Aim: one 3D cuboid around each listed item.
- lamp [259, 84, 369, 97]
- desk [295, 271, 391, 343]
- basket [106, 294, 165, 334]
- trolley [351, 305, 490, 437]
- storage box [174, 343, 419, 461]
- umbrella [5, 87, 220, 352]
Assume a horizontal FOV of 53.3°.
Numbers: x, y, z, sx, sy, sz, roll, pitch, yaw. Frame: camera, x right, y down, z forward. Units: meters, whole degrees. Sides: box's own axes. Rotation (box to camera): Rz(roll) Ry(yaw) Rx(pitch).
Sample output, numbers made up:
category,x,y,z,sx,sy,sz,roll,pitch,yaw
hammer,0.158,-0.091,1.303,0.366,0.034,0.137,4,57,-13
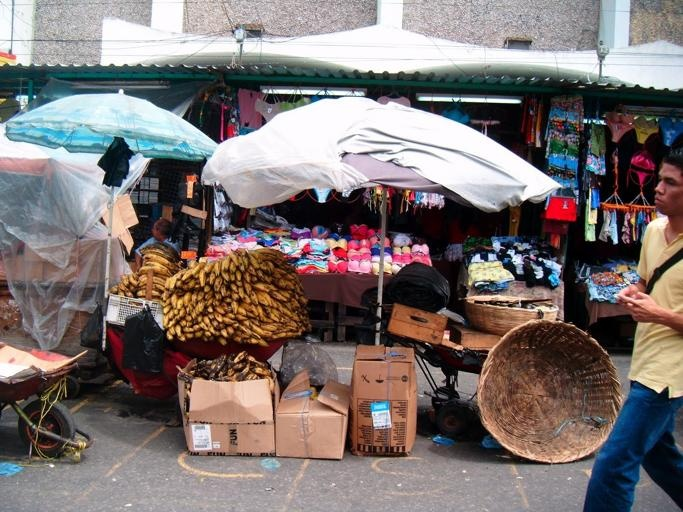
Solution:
category,x,y,z,sx,sy,sz,roll,pitch,yaw
lamp,-0.430,-2.584,10.694,1.662,0.140,0.404,3,8,8
desk,-0.064,0.661,10.074,1.343,0.863,0.985,1,-1,-2
basket,-1.995,0.549,6.875,0.581,0.273,0.411,7,3,12
trolley,1.022,1.128,6.869,1.454,1.102,0.975,7,-4,4
storage box,-0.353,1.248,6.182,1.812,0.703,1.047,2,-2,0
umbrella,-2.236,-0.522,7.661,2.194,2.270,2.169,6,-1,1
